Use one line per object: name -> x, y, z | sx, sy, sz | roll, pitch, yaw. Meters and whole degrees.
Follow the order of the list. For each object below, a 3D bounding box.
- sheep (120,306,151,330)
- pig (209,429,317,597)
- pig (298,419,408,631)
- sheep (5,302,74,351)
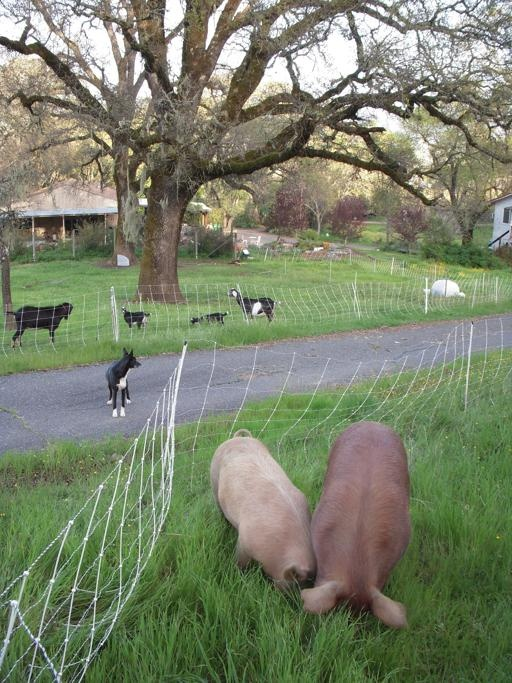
sheep -> -3.035, -0.527, 15.036 | 0.477, 0.411, 0.703 | 1, 8, 22
pig -> 0.050, 0.936, 3.337 | 0.490, 0.661, 0.935 | -1, 12, -13
pig -> 0.530, 0.922, 3.079 | 0.512, 0.729, 1.096 | 0, 8, 14
sheep -> -4.938, -0.369, 13.741 | 1.248, 0.882, 1.908 | -5, 8, -21
